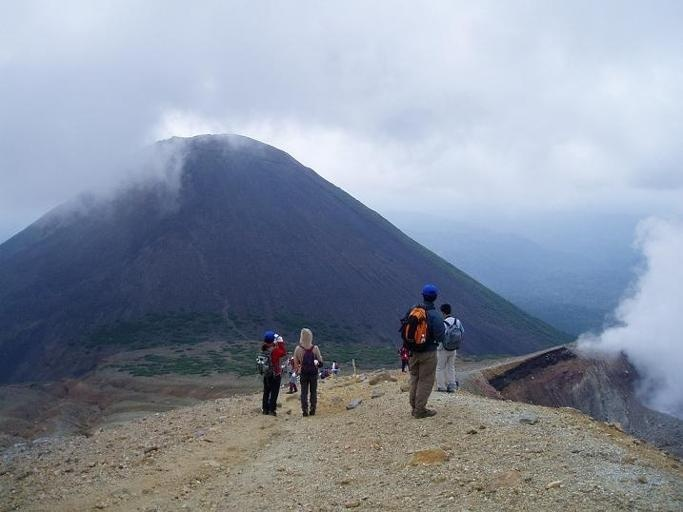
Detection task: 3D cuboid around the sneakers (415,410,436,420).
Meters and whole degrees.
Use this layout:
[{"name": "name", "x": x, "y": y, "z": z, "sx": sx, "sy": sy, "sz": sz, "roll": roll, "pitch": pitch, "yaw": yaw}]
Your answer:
[{"name": "sneakers", "x": 1.458, "y": 2.758, "z": 8.999, "sx": 0.395, "sy": 0.182, "sz": 0.147, "roll": -3, "pitch": 0, "yaw": -3}]

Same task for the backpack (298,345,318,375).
[{"name": "backpack", "x": -0.715, "y": 2.308, "z": 11.248, "sx": 0.359, "sy": 0.602, "sz": 0.230, "roll": -5, "pitch": -6, "yaw": -8}]

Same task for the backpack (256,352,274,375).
[{"name": "backpack", "x": -1.711, "y": 2.383, "z": 11.375, "sx": 0.305, "sy": 0.488, "sz": 0.262, "roll": -4, "pitch": -7, "yaw": -13}]

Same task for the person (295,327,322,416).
[{"name": "person", "x": -0.744, "y": 2.636, "z": 11.515, "sx": 0.668, "sy": 1.850, "sz": 0.568, "roll": 1, "pitch": -9, "yaw": -11}]

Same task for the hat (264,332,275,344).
[{"name": "hat", "x": -1.594, "y": 1.824, "z": 11.455, "sx": 0.239, "sy": 0.232, "sz": 0.515, "roll": -5, "pitch": -7, "yaw": -8}]

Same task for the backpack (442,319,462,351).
[{"name": "backpack", "x": 2.309, "y": 1.586, "z": 10.396, "sx": 0.398, "sy": 0.587, "sz": 0.382, "roll": -2, "pitch": 4, "yaw": -6}]

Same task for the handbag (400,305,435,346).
[{"name": "handbag", "x": 1.331, "y": 1.255, "z": 9.042, "sx": 0.541, "sy": 0.779, "sz": 0.448, "roll": 7, "pitch": 10, "yaw": 27}]
